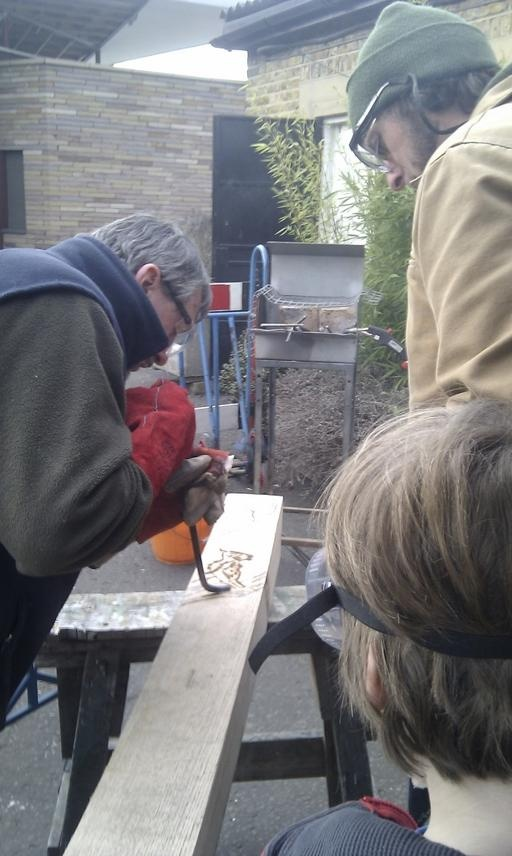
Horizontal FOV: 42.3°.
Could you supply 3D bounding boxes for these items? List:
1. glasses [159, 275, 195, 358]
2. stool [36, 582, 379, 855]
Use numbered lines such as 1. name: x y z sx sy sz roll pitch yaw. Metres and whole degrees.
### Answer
1. glasses: -0.184 -0.274 1.610 0.039 0.144 0.134 -26 7 -10
2. stool: -0.118 0.616 1.848 0.862 0.845 0.696 -1 8 -4
